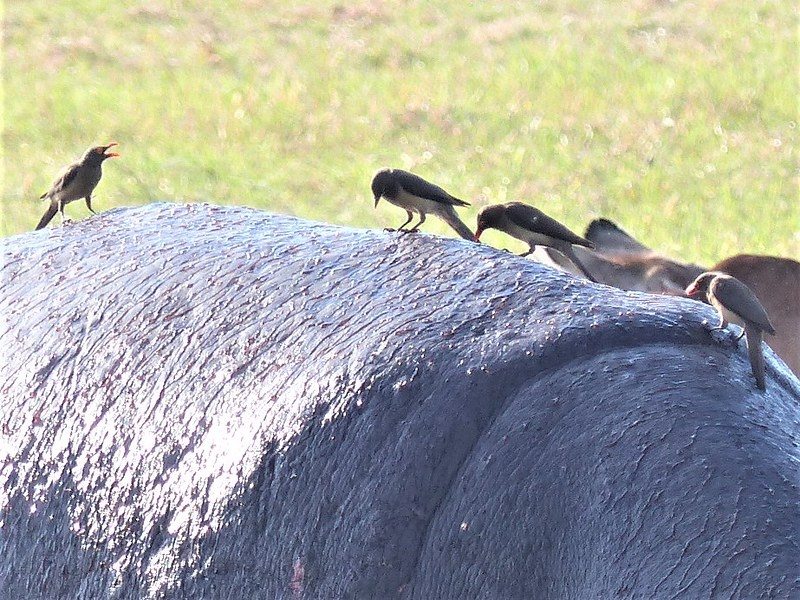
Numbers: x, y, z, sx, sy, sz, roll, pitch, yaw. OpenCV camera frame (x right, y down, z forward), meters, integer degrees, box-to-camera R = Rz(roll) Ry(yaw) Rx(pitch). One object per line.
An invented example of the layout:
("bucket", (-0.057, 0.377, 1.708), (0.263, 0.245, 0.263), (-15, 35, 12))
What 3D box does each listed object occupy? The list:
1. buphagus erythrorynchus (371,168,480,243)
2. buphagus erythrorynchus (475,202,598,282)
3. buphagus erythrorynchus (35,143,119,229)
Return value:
("buphagus erythrorynchus", (0.107, -0.366, 6.915), (0.569, 0.159, 0.228), (8, 83, -35))
("buphagus erythrorynchus", (0.548, -0.235, 6.922), (0.580, 0.157, 0.206), (11, 77, -21))
("buphagus erythrorynchus", (-1.362, -0.455, 7.322), (0.187, 0.558, 0.272), (-1, 81, -46))
